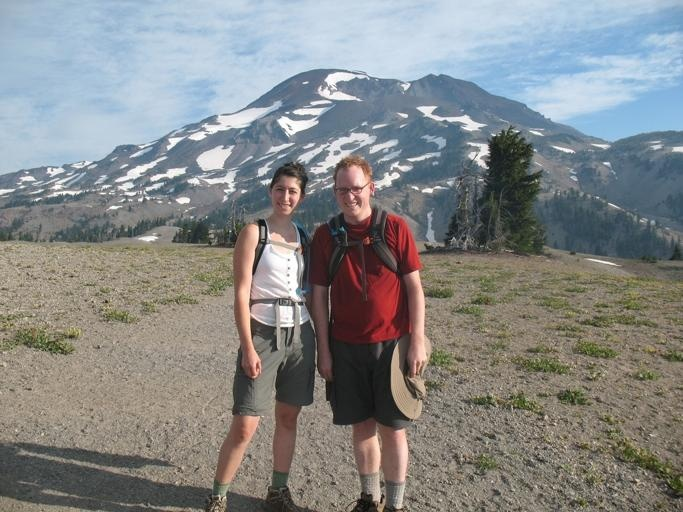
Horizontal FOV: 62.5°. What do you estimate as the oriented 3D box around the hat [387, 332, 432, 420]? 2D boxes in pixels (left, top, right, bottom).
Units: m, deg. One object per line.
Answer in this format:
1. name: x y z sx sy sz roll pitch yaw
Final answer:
1. hat: 1.111 2.040 9.464 0.628 1.375 0.386 0 5 -12
